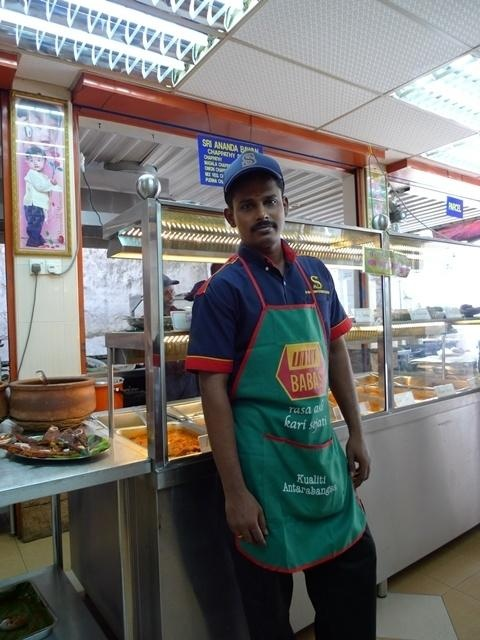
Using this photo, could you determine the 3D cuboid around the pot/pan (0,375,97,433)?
[{"bbox_3d":[-0.617,0.246,1.457,0.197,0.116,0.204,-11,-7,38],"label":"pot/pan"}]
